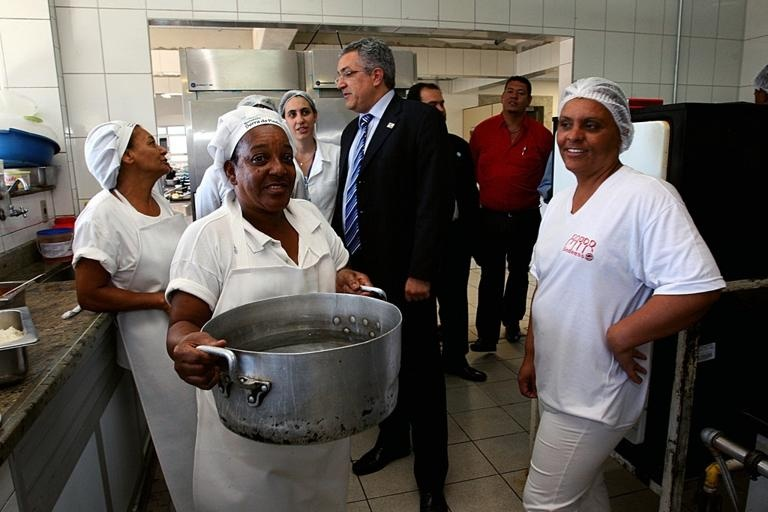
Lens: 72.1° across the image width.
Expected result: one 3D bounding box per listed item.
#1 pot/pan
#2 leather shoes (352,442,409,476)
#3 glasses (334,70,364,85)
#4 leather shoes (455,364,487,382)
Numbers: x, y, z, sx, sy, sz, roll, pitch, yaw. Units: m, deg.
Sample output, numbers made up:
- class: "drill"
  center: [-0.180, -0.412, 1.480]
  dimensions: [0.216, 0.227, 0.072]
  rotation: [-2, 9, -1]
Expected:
- class: "pot/pan"
  center: [-0.261, 0.165, 1.498]
  dimensions: [0.475, 0.260, 0.602]
  rotation: [5, 10, 34]
- class: "leather shoes"
  center: [-0.028, 1.085, 2.854]
  dimensions: [0.368, 0.138, 0.120]
  rotation: [-10, 11, -13]
- class: "glasses"
  center: [-0.168, -0.896, 2.581]
  dimensions: [0.090, 0.027, 0.084]
  rotation: [-4, 7, -23]
- class: "leather shoes"
  center: [0.593, 0.819, 3.675]
  dimensions: [0.248, 0.095, 0.092]
  rotation: [1, 6, 35]
